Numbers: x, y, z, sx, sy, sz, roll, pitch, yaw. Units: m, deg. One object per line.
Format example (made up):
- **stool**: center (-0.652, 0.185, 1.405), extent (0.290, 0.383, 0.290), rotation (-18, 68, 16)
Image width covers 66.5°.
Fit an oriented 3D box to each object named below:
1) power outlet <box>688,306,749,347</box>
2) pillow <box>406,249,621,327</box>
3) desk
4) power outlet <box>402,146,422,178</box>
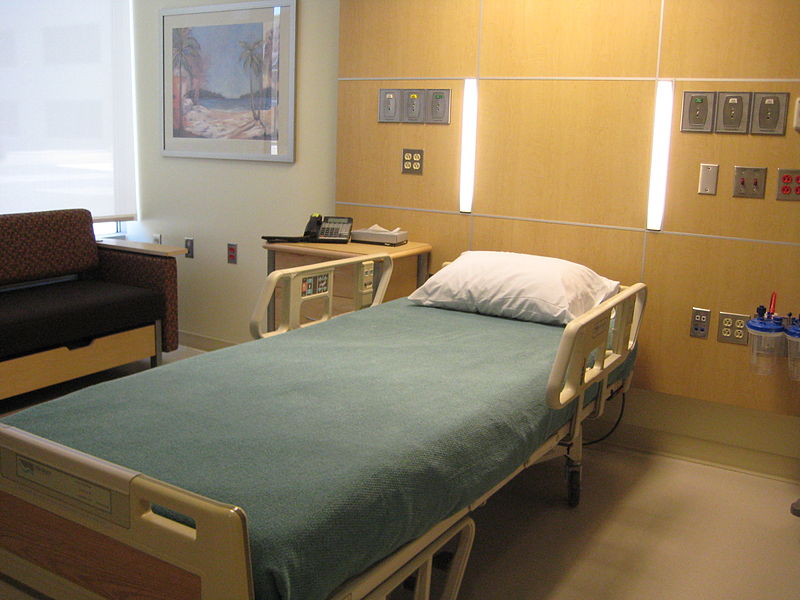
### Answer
- **power outlet**: center (1.688, 0.140, 3.223), extent (0.283, 0.175, 0.019), rotation (9, 16, 26)
- **pillow**: center (0.567, -0.077, 3.110), extent (0.640, 0.187, 0.497), rotation (7, 24, 30)
- **desk**: center (-0.397, 0.020, 3.770), extent (0.686, 0.694, 0.496), rotation (9, 15, 25)
- **power outlet**: center (0.085, -0.853, 3.827), extent (0.148, 0.158, 0.154), rotation (7, 17, 18)
